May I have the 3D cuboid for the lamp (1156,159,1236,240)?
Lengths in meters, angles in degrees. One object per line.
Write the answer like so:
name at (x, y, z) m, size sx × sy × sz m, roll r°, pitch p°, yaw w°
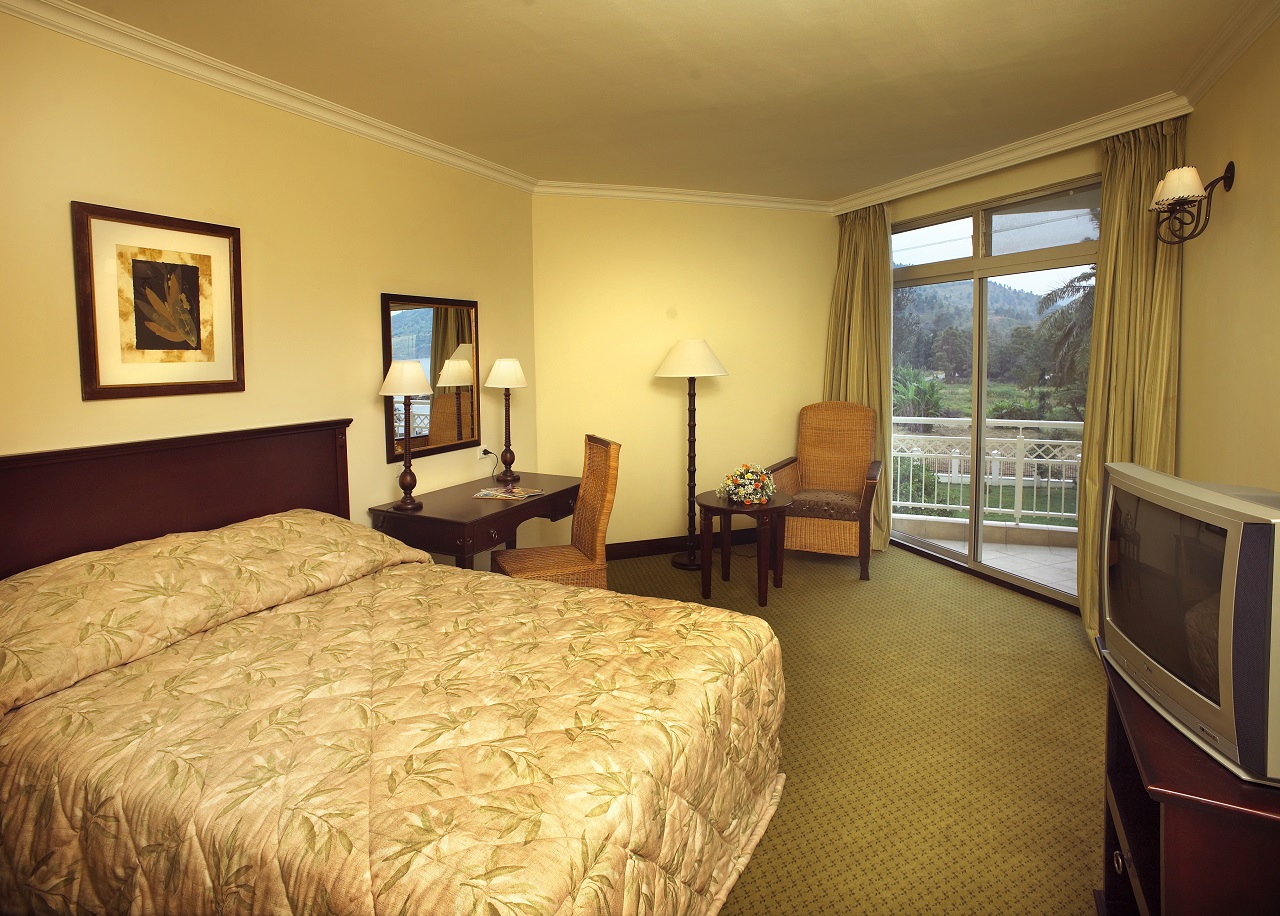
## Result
lamp at (2.944, -1.367, 4.608) m, size 0.348 × 0.368 × 0.672 m, roll 3°, pitch 7°, yaw 18°

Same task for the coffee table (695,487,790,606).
coffee table at (0.723, 0.591, 5.932) m, size 0.654 × 0.734 × 0.689 m, roll -3°, pitch 11°, yaw -15°

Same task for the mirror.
mirror at (-1.337, -0.514, 5.315) m, size 0.043 × 1.158 × 0.965 m, roll 7°, pitch 11°, yaw 25°

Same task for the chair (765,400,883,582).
chair at (1.457, 0.196, 6.725) m, size 1.103 × 1.725 × 1.199 m, roll 1°, pitch 4°, yaw 20°

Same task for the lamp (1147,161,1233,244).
lamp at (2.938, -1.368, 4.479) m, size 0.353 × 0.333 × 0.445 m, roll -1°, pitch 11°, yaw 20°
